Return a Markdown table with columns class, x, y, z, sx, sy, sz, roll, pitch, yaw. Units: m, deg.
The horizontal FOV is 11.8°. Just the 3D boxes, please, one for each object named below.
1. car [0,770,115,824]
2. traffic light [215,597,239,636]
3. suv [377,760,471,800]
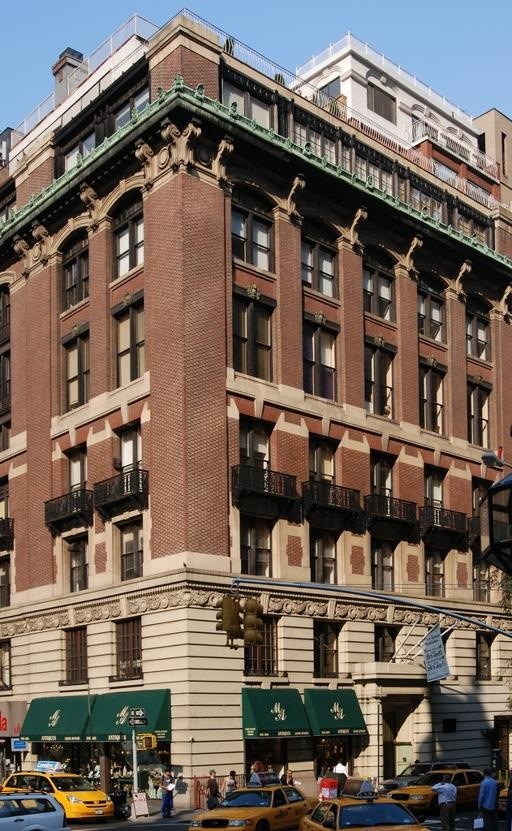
| class | x | y | z | sx | sy | sz | roll | pitch | yaw |
| --- | --- | --- | --- | --- | --- | --- | --- | --- | --- |
| car | -6.434 | 12.415 | 82.289 | 3.183 | 1.767 | 1.876 | -18 | -22 | 40 |
| traffic light | -0.902 | 6.229 | 74.487 | 0.641 | 1.328 | 0.975 | 0 | -17 | -10 |
| suv | 5.827 | 12.983 | 88.731 | 2.944 | 1.225 | 1.350 | 9 | -16 | -38 |
